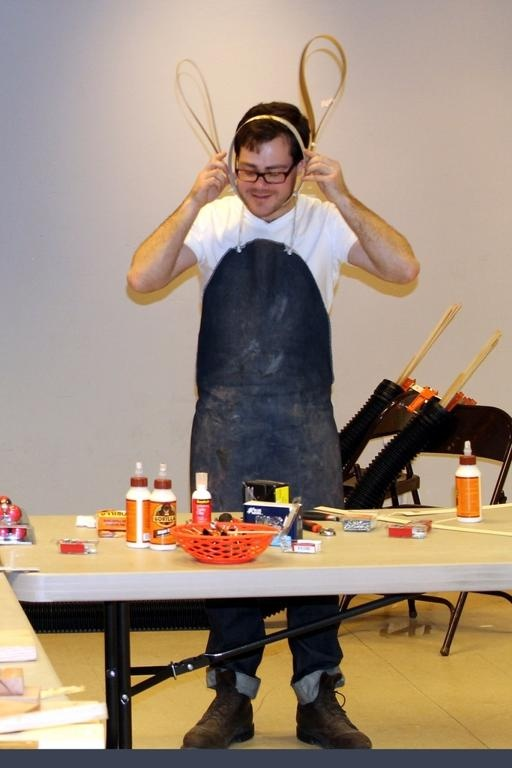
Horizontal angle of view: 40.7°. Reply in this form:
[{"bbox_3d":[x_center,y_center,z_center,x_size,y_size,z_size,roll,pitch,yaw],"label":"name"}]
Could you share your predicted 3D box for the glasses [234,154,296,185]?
[{"bbox_3d":[0.019,-0.554,1.825,0.164,0.058,0.073,0,-2,1],"label":"glasses"}]
